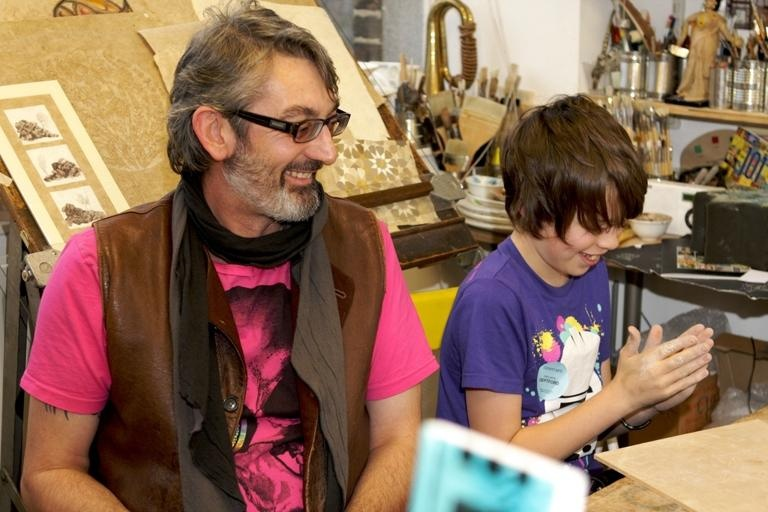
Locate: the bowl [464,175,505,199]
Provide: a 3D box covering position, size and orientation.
[{"bbox_3d":[0.513,-0.354,3.405,0.142,0.068,0.155,3,25,-1],"label":"bowl"}]

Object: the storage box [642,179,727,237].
[{"bbox_3d":[1.326,-0.265,3.147,0.251,0.269,0.440,10,15,37],"label":"storage box"}]

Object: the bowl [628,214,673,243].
[{"bbox_3d":[1.214,-0.131,3.065,0.169,0.107,0.186,1,29,4],"label":"bowl"}]

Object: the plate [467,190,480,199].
[{"bbox_3d":[0.444,-0.311,3.416,0.052,0.019,0.054,13,-18,37],"label":"plate"}]

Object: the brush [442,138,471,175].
[{"bbox_3d":[0.393,-0.546,3.744,0.121,0.189,0.054,7,9,11],"label":"brush"}]

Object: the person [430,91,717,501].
[{"bbox_3d":[0.489,0.115,1.857,0.512,1.443,0.501,5,7,44],"label":"person"}]
